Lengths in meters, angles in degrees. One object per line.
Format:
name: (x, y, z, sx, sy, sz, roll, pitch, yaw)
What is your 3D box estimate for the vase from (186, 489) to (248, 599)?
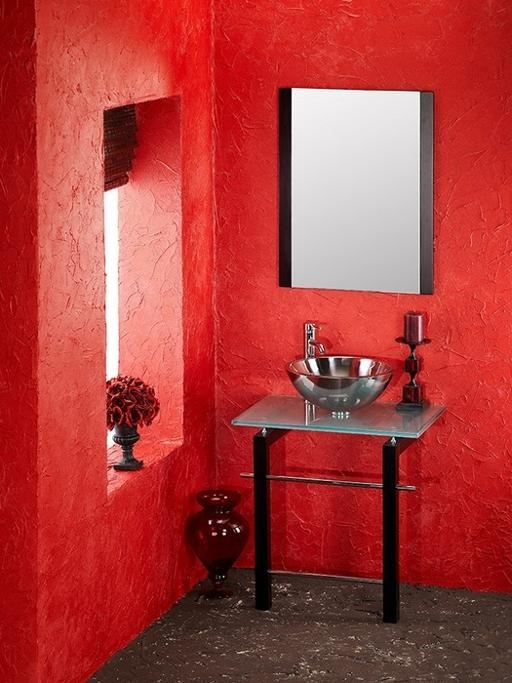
vase: (-0.163, 0.860, 2.785, 0.196, 0.460, 0.193, 1, 1, 32)

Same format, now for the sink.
sink: (0.334, 0.160, 2.656, 0.310, 0.118, 0.293, 0, 5, 5)

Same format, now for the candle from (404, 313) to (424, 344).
candle: (0.668, -0.055, 2.780, 0.083, 0.126, 0.063, 0, 1, 2)

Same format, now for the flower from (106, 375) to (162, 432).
flower: (-0.462, 0.221, 2.398, 0.211, 0.185, 0.197, 1, -4, -16)
